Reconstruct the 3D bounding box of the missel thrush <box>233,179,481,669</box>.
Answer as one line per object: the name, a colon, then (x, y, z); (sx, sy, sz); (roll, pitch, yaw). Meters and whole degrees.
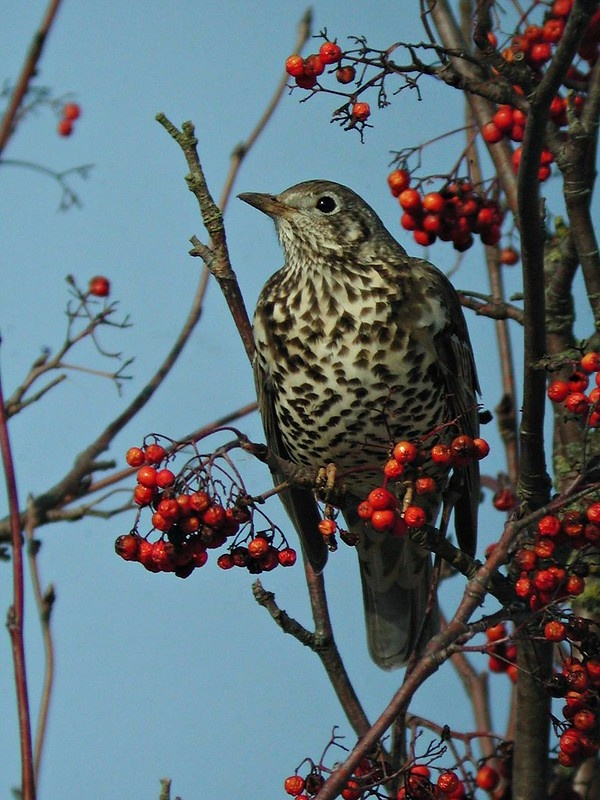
missel thrush: (0.203, -0.014, 6.778); (0.548, 0.933, 1.391); (-9, -70, 9)
